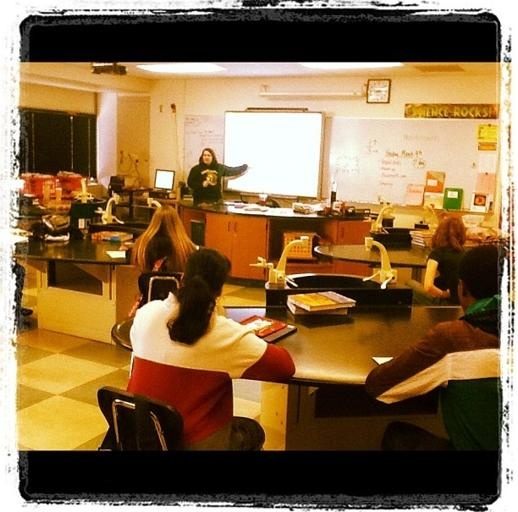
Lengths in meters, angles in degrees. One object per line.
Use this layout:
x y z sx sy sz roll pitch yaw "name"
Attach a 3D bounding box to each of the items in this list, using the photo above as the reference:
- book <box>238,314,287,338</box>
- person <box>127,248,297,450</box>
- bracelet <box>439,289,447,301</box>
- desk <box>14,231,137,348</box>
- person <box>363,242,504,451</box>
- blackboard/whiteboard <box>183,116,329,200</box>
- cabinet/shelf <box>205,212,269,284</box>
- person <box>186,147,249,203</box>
0.014 0.341 2.324 0.118 0.019 0.123 12 19 35 "book"
-0.192 0.427 1.900 0.612 0.899 0.347 -8 11 -22 "person"
1.534 0.329 4.061 0.036 0.085 0.060 -3 -1 -45 "bracelet"
-1.691 0.316 4.780 1.232 0.669 1.112 9 18 13 "desk"
0.690 0.389 1.896 0.462 0.818 0.405 2 12 27 "person"
0.042 -1.702 8.450 1.552 1.378 0.180 6 16 22 "blackboard/whiteboard"
-0.433 -0.114 6.945 0.999 0.926 0.372 3 1 -28 "cabinet/shelf"
-0.683 -1.395 8.468 1.081 1.260 0.466 -2 3 -11 "person"
